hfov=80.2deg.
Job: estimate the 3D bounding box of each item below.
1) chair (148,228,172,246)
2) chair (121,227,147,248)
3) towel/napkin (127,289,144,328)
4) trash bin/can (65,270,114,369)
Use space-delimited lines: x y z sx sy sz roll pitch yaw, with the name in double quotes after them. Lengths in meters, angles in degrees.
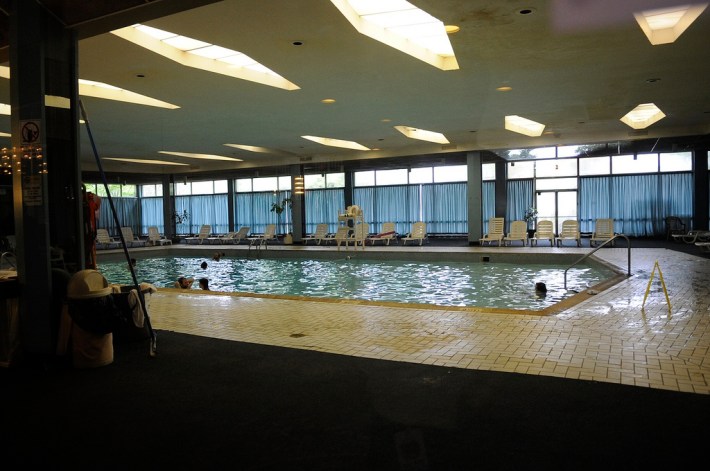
-9.646 0.012 20.729 1.404 0.846 0.845 2 3 36 "chair"
-9.967 0.078 18.812 1.076 1.069 1.756 -2 3 -41 "chair"
-2.591 0.858 4.953 0.137 0.477 0.188 -9 14 -31 "towel/napkin"
-2.792 0.870 4.401 0.455 0.994 0.378 -9 14 -33 "trash bin/can"
